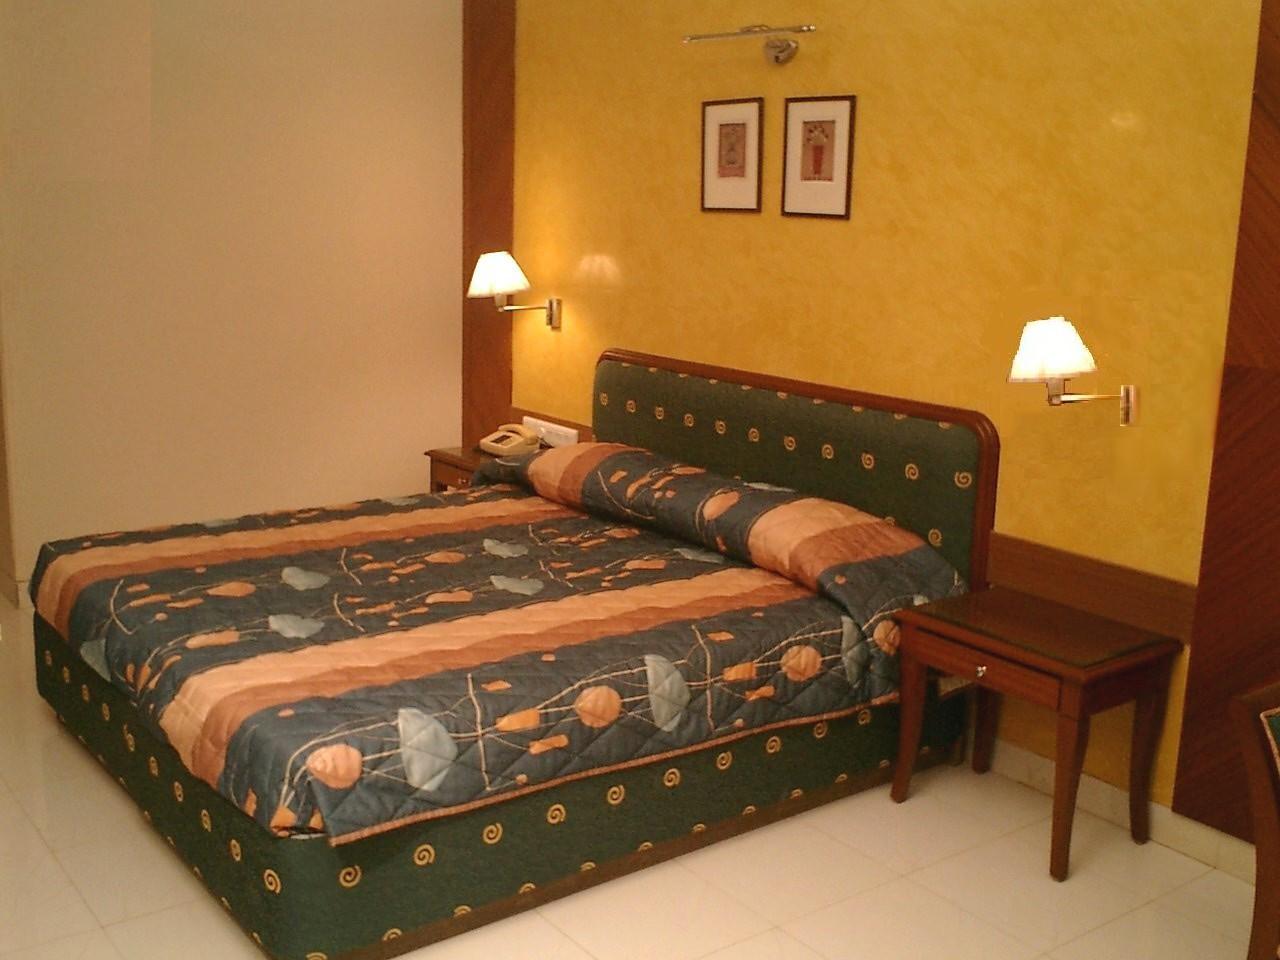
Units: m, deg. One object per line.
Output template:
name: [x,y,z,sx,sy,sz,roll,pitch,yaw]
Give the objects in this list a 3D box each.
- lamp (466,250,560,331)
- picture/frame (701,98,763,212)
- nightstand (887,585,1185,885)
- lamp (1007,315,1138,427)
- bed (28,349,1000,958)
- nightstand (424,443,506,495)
lamp: [-0.656,-0.971,5.256,0.477,0.465,0.291,-11,19,-26]
picture/frame: [0.407,-1.426,4.385,0.116,0.465,0.373,-17,26,-34]
nightstand: [1.304,0.841,3.370,0.554,0.704,0.737,-3,10,-34]
lamp: [1.455,-0.343,3.155,0.452,0.423,0.283,-3,12,-14]
bed: [-0.196,0.517,3.405,2.355,1.082,2.286,-10,18,-38]
nightstand: [-0.954,-0.071,5.416,0.301,0.339,0.341,-9,17,-41]
